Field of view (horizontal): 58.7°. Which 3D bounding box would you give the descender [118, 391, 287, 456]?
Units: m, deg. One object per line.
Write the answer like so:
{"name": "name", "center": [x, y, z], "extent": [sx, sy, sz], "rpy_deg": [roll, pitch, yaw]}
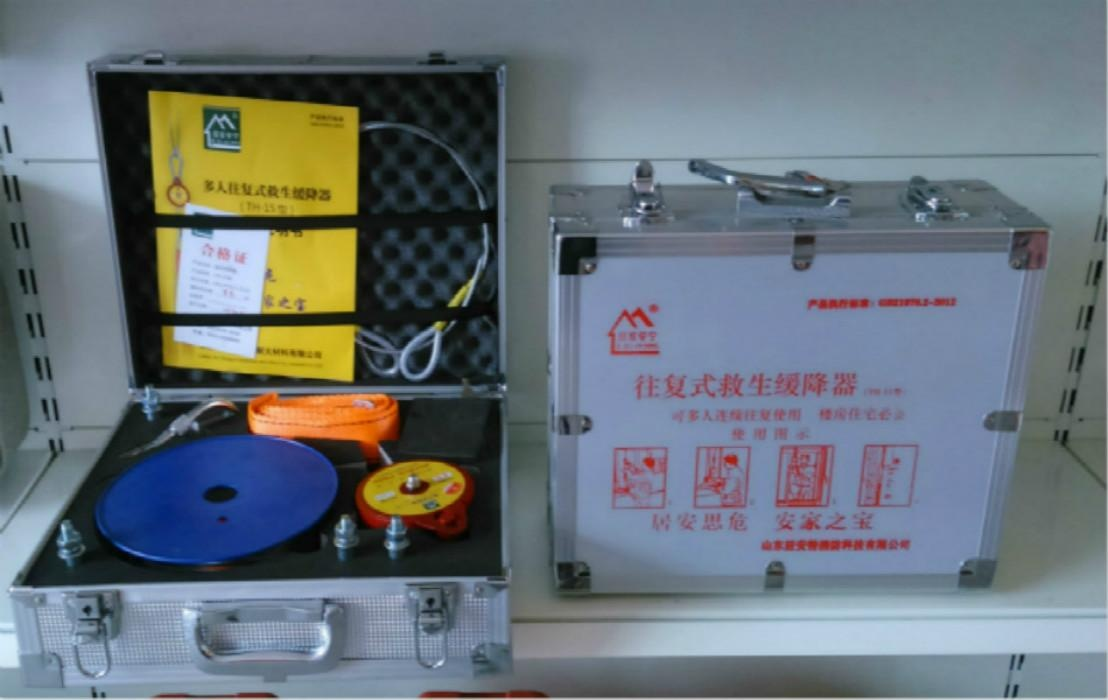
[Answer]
{"name": "descender", "center": [-0.769, 0.125, 2.169], "extent": [0.073, 0.077, 0.342], "rpy_deg": [26, 34, 35]}

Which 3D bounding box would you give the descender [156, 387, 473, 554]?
{"name": "descender", "center": [-0.430, 0.223, 1.958], "extent": [0.479, 0.115, 0.333], "rpy_deg": [1, 46, -14]}

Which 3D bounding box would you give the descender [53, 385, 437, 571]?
{"name": "descender", "center": [-0.645, 0.259, 2.072], "extent": [0.544, 0.152, 0.572], "rpy_deg": [11, 37, 27]}

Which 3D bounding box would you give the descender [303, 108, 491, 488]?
{"name": "descender", "center": [-0.341, -0.130, 2.113], "extent": [0.512, 0.670, 0.083], "rpy_deg": [6, 18, -3]}
